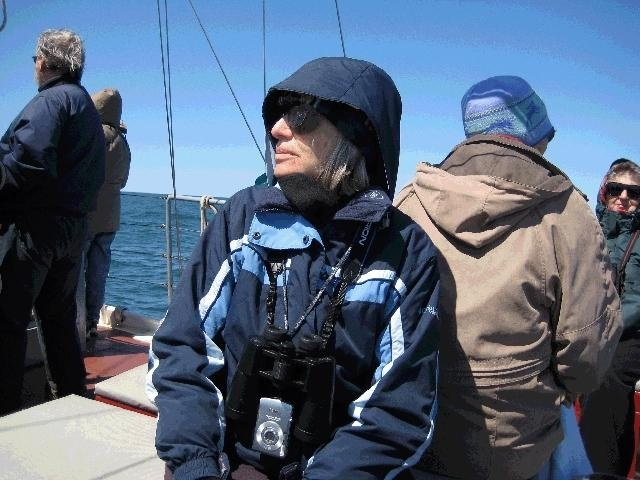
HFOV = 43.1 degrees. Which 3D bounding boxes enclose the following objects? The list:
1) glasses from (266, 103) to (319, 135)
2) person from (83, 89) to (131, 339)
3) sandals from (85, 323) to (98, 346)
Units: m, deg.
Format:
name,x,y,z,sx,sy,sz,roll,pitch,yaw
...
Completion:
name,x,y,z,sx,sy,sz,roll,pitch,yaw
glasses,-0.096,-0.561,3.612,0.144,0.130,0.118,17,22,37
person,-1.870,-0.221,6.518,0.506,2.091,0.548,3,2,2
sandals,-1.729,0.711,6.179,0.093,0.122,0.133,3,-4,-6
